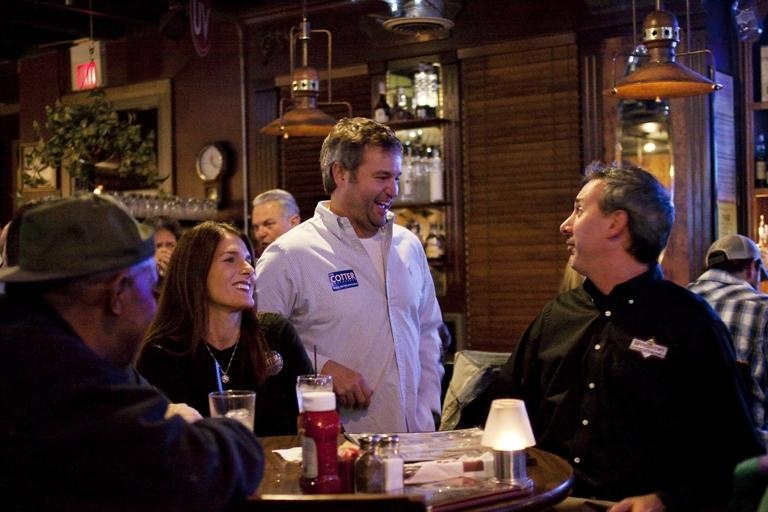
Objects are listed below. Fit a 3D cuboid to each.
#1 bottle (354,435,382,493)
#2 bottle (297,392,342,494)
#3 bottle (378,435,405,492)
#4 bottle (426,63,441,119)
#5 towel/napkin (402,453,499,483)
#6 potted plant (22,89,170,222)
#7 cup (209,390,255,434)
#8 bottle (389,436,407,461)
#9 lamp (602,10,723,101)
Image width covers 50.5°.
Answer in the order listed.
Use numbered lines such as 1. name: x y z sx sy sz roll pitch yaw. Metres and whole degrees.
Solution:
1. bottle: -0.050 0.679 2.615 0.090 0.132 0.174 -2 -1 -8
2. bottle: -0.205 0.593 2.581 0.126 0.228 0.099 -2 -1 -7
3. bottle: 0.020 0.677 2.654 0.076 0.136 0.151 -2 -1 12
4. bottle: 0.395 -1.297 6.377 0.084 0.315 0.037 -2 -1 2
5. towel/napkin: 0.226 0.722 2.746 0.293 0.075 0.063 -6 11 -14
6. potted plant: -2.818 -1.035 7.892 1.708 1.183 1.268 -2 -1 -21
7. cup: -0.497 0.534 2.821 0.169 0.178 0.173 0 -7 0
8. bottle: 0.028 0.638 2.706 0.085 0.086 0.074 -1 -2 -7
9. lamp: 1.371 -0.961 4.116 0.515 0.506 0.500 -1 6 5
